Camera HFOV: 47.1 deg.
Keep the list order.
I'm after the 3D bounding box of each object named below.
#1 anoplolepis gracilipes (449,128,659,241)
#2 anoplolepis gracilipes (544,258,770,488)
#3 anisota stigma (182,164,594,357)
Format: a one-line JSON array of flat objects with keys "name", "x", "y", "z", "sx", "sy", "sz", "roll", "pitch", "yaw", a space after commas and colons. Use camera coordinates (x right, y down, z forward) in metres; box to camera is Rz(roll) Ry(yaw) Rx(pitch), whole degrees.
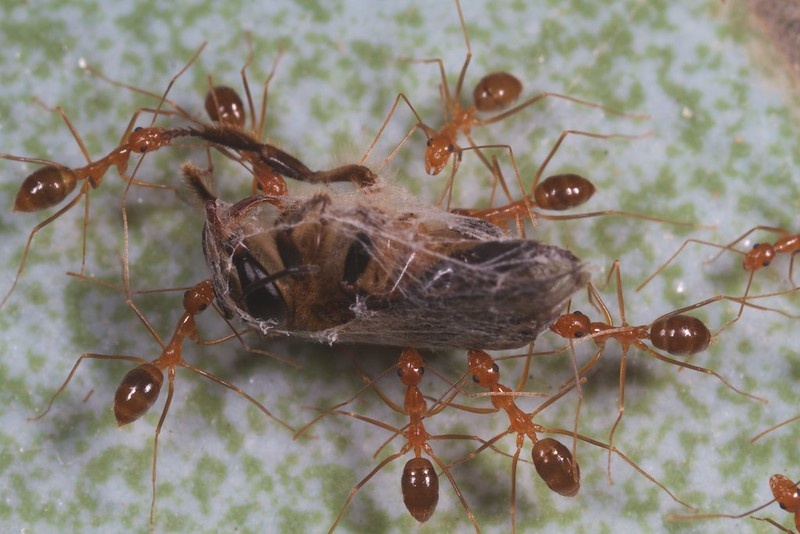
[{"name": "anoplolepis gracilipes", "x": 0.832, "y": -0.380, "z": 5.501, "sx": 0.915, "sy": 0.267, "sz": 0.700, "roll": -15, "pitch": 54, "yaw": 11}, {"name": "anoplolepis gracilipes", "x": 1.415, "y": 0.465, "z": 5.429, "sx": 1.203, "sy": 0.374, "sz": 1.263, "roll": 7, "pitch": 68, "yaw": 11}, {"name": "anisota stigma", "x": -0.025, "y": -0.029, "z": 4.863, "sx": 1.494, "sy": 0.933, "sz": 0.729, "roll": 3, "pitch": 85, "yaw": 6}]
